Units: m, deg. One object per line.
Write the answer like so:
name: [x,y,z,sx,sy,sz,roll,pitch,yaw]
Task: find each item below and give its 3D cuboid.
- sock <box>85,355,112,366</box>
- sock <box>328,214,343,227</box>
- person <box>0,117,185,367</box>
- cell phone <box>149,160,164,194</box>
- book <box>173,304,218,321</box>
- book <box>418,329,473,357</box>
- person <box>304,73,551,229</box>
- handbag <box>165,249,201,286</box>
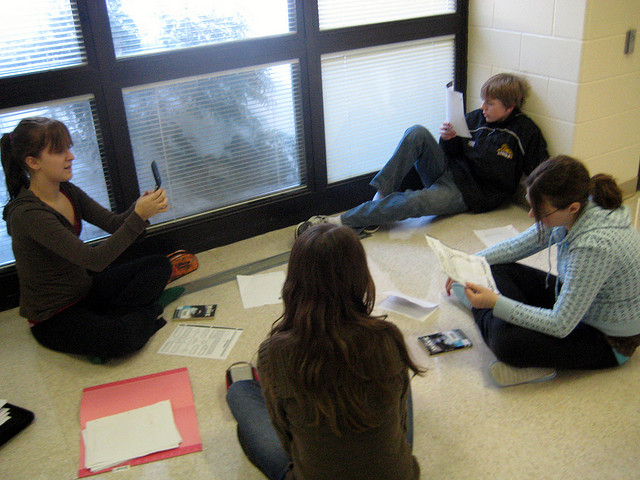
sock: [-1.051,0.575,2.336,0.100,0.051,0.068,-1,-1,1]
sock: [0.101,-0.135,3.259,0.114,0.033,0.076,5,17,7]
person: [-1.115,-0.029,2.414,0.628,1.151,0.557,0,20,16]
cell phone: [-0.893,-0.360,2.699,0.064,0.071,0.270,-54,10,-10]
book: [-0.657,0.389,2.630,0.230,0.039,0.120,-5,19,1]
book: [0.582,0.489,2.324,0.237,0.046,0.121,-9,19,-11]
person: [0.682,-0.551,3.228,1.617,0.867,0.878,-13,33,-19]
handbag: [-0.844,0.137,2.917,0.092,0.165,0.255,16,17,20]
